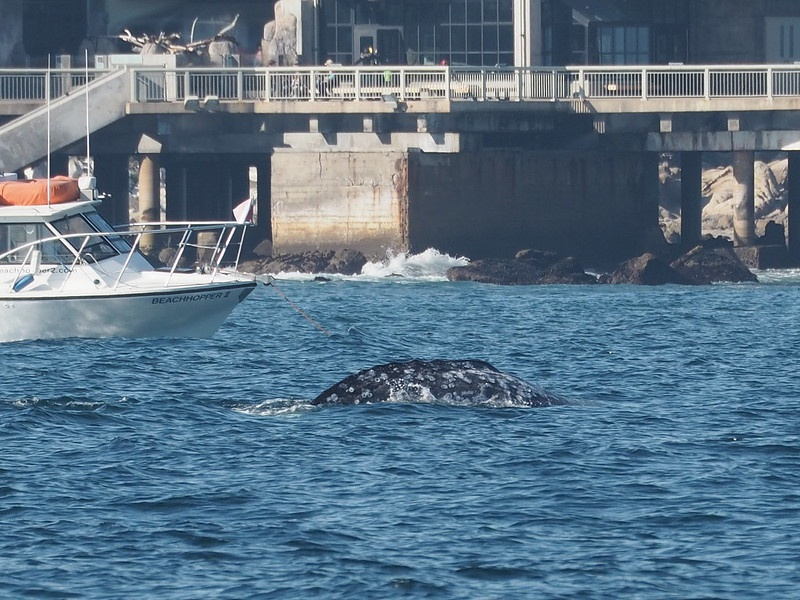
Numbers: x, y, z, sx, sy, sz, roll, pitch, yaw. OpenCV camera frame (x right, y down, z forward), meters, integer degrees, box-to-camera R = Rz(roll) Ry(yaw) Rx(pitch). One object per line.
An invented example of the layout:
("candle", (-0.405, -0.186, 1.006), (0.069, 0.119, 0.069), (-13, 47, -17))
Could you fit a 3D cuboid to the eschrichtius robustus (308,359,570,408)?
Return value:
("eschrichtius robustus", (0.975, 2.556, 58.400), (7.240, 1.517, 2.045), (2, -1, -1))
